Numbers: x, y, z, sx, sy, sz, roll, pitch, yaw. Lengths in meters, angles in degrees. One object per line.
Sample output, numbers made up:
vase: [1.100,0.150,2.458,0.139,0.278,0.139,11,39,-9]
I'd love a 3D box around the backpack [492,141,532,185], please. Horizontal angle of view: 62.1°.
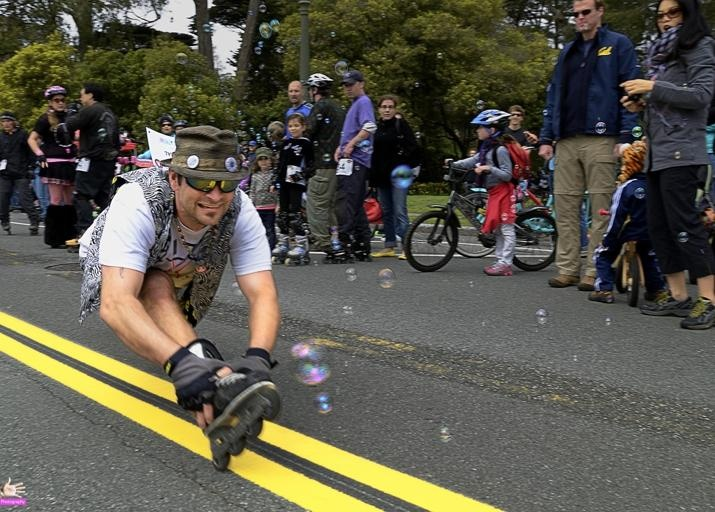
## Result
backpack: [2.071,-1.225,7.771,0.306,0.557,0.789,9,12,29]

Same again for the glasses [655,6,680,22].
glasses: [2.609,-2.008,4.941,0.054,0.091,0.179,-7,13,-38]

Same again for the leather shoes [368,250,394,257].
leather shoes: [0.377,-0.029,9.089,0.400,0.073,0.115,2,-1,-14]

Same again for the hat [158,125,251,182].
hat: [-0.695,-0.463,2.729,0.392,0.236,0.440,-7,14,-44]

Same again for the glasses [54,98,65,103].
glasses: [-5.000,-2.574,9.869,0.054,0.083,0.130,11,14,38]
